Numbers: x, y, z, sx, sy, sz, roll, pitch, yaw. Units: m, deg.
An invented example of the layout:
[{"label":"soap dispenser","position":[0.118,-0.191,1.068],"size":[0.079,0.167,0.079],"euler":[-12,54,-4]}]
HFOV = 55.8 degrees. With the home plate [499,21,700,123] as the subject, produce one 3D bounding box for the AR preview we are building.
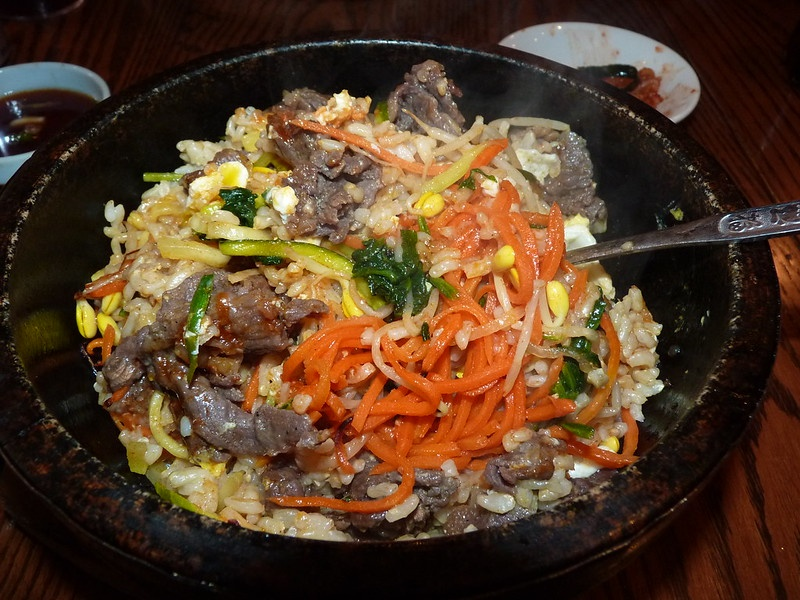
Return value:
[{"label":"home plate","position":[1.408,-1.436,4.733],"size":[0.977,0.247,1.028],"euler":[-9,50,-7]}]
